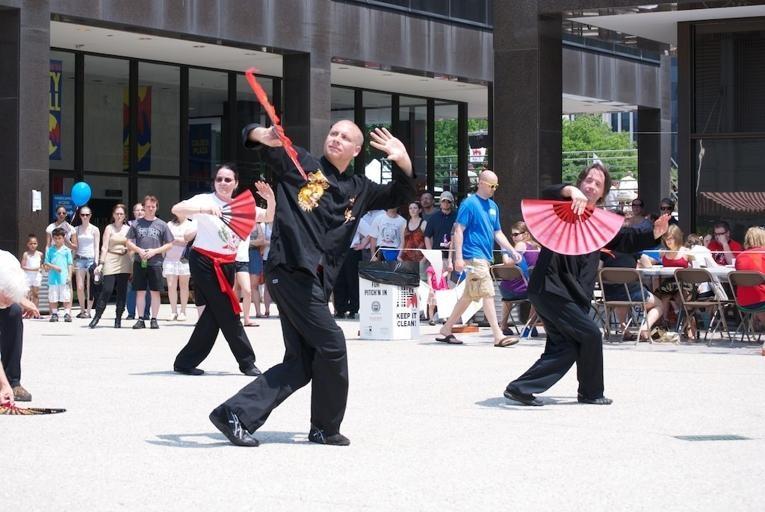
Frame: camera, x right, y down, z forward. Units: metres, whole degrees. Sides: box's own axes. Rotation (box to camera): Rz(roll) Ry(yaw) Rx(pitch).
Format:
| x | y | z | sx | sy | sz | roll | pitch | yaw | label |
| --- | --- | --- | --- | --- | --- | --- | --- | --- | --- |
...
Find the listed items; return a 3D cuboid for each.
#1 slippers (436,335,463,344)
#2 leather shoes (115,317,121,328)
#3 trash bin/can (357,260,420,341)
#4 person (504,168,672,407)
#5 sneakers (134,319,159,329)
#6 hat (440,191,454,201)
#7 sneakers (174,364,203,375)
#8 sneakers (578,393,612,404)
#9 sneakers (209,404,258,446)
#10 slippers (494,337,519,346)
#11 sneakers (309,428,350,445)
| x | y | z | sx | sy | sz | roll | pitch | yaw | label |
| --- | --- | --- | --- | --- | --- | --- | --- | --- | --- |
| 1.025 | 1.305 | 17.627 | 0.408 | 0.122 | 0.148 | 0 | -1 | 28 | slippers |
| -4.463 | 1.151 | 19.473 | 0.138 | 0.210 | 0.168 | 1 | -2 | -10 | leather shoes |
| -0.093 | 0.772 | 18.619 | 1.194 | 1.432 | 1.198 | -4 | -8 | 31 | trash bin/can |
| 2.179 | 0.330 | 12.953 | 1.601 | 2.716 | 0.523 | 0 | 1 | 4 | person |
| -3.978 | 1.162 | 19.356 | 0.253 | 0.088 | 0.240 | 0 | -13 | -16 | sneakers |
| 1.188 | -1.100 | 21.315 | 0.195 | 0.150 | 0.297 | 6 | -12 | 8 | hat |
| -2.412 | 1.443 | 14.424 | 0.393 | 0.165 | 0.131 | 2 | 2 | -1 | sneakers |
| 2.397 | 1.615 | 12.958 | 0.347 | 0.103 | 0.130 | -2 | -3 | 9 | sneakers |
| -1.435 | 1.681 | 11.203 | 0.619 | 0.223 | 0.261 | 39 | -36 | -19 | sneakers |
| 1.846 | 1.293 | 17.082 | 0.315 | 0.081 | 0.143 | -7 | -4 | 18 | slippers |
| -0.516 | 1.782 | 11.313 | 0.343 | 0.124 | 0.173 | 0 | -1 | 9 | sneakers |
